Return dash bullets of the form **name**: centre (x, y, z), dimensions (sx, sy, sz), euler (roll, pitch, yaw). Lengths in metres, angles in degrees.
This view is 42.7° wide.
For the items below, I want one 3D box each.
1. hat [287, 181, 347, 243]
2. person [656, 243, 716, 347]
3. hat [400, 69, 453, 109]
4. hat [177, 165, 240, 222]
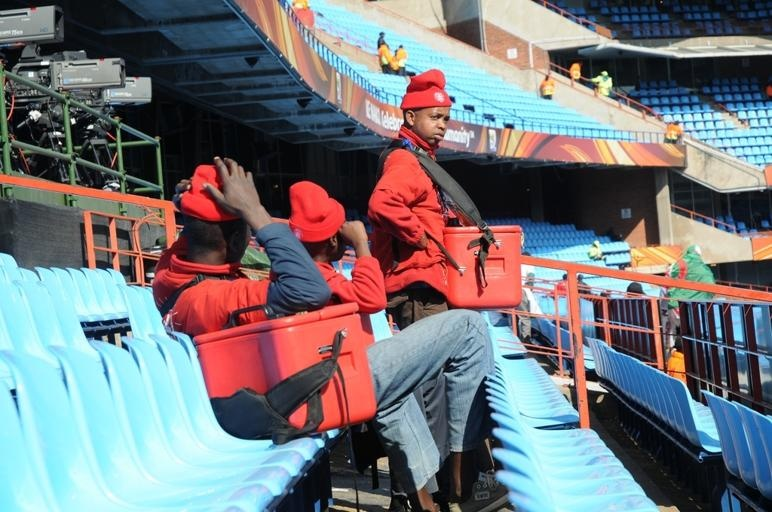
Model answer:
- **hat**: centre (-0.524, -0.331, 7.504), dimensions (0.365, 0.327, 0.499), euler (-36, 19, -17)
- **person**: centre (4.010, 0.550, 12.603), dimensions (0.480, 1.611, 0.752), euler (17, 8, 34)
- **hat**: centre (0.366, -1.436, 8.589), dimensions (0.412, 0.254, 0.321), euler (-3, -1, 31)
- **hat**: centre (-1.326, -0.461, 7.497), dimensions (0.475, 0.292, 0.348), euler (17, 2, 12)
